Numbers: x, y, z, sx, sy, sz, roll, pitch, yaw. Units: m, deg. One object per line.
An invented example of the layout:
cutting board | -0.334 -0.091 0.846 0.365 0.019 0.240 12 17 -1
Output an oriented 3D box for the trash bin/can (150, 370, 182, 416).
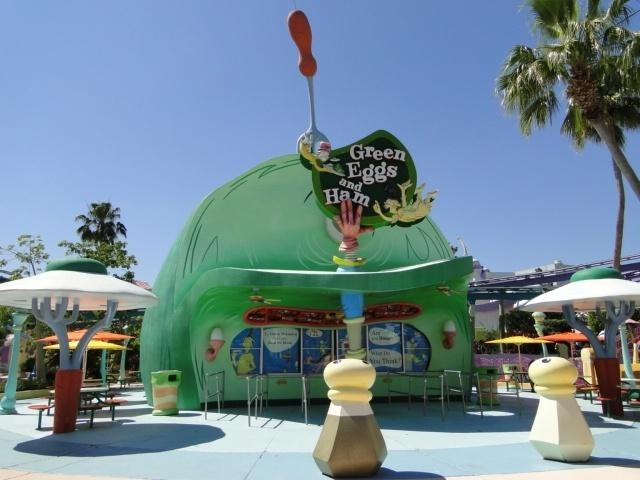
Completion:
trash bin/can | -4.681 4.685 13.752 1.108 1.477 1.140 -2 -8 0

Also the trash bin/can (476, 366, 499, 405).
trash bin/can | 5.489 4.814 14.489 0.656 1.266 0.878 -7 -14 16

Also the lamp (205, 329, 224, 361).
lamp | -3.395 3.346 14.141 0.537 1.043 0.493 16 -8 16

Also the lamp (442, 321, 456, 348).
lamp | 4.663 3.418 15.919 0.570 1.035 0.492 -4 -13 4
